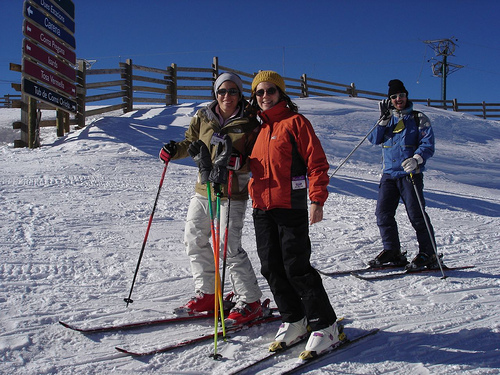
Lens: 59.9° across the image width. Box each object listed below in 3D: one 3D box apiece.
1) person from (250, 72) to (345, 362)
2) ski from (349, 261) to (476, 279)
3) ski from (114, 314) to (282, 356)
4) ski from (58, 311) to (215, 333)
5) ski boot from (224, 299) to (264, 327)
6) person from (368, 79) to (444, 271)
[{"bbox_3d":[0.345,0.178,3.419,0.578,2.091,0.953,-5,16,-23],"label":"person"},{"bbox_3d":[1.844,0.914,4.899,1.464,0.162,0.220,0,14,-9],"label":"ski"},{"bbox_3d":[-0.401,1.210,3.377,1.383,0.133,0.141,-13,11,10],"label":"ski"},{"bbox_3d":[-0.978,1.149,3.684,0.972,0.094,0.119,0,7,-17],"label":"ski"},{"bbox_3d":[-0.049,1.070,3.754,0.165,0.199,0.514,-1,-4,41],"label":"ski boot"},{"bbox_3d":[1.859,-0.147,5.167,0.716,2.194,1.037,1,14,-3],"label":"person"}]
